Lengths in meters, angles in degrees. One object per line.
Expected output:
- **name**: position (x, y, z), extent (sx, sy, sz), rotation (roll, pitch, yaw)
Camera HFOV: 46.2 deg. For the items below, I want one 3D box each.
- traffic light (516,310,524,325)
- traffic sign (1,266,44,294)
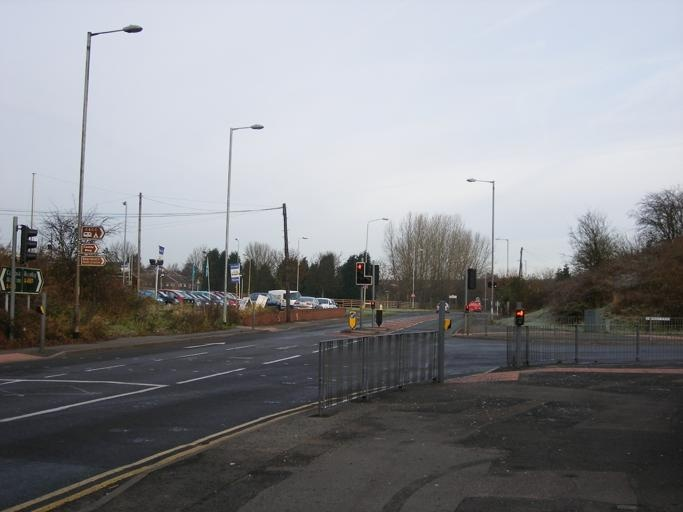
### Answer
- **traffic light**: position (5.572, 1.907, 24.929), extent (0.207, 0.529, 0.473), rotation (-1, -4, 10)
- **traffic sign**: position (-12.133, 0.886, 30.198), extent (0.443, 0.956, 1.807), rotation (-2, -5, 26)
